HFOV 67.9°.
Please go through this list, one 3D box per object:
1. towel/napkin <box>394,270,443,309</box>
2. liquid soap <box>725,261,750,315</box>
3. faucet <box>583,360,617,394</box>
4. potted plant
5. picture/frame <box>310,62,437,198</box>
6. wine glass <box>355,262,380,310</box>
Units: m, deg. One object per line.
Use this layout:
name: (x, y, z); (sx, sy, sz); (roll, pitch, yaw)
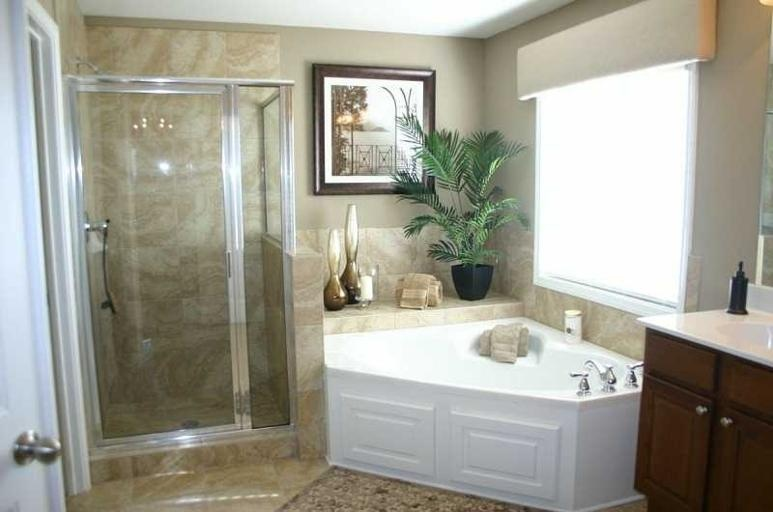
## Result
towel/napkin: (0.243, 0.285, 4.562); (0.361, 0.261, 0.270); (0, -1, 23)
liquid soap: (1.892, 0.160, 3.049); (0.159, 0.286, 0.093); (-6, 10, -21)
faucet: (1.278, 0.694, 3.374); (0.176, 0.148, 0.179); (-11, 12, -43)
potted plant: (0.603, -0.434, 4.806); (1.036, 1.565, 0.676); (-2, 9, 1)
picture/frame: (-0.150, -1.050, 4.759); (1.184, 1.156, 0.080); (-1, 2, -18)
wine glass: (-0.158, 0.242, 4.781); (0.161, 0.286, 0.375); (-2, 8, 6)
